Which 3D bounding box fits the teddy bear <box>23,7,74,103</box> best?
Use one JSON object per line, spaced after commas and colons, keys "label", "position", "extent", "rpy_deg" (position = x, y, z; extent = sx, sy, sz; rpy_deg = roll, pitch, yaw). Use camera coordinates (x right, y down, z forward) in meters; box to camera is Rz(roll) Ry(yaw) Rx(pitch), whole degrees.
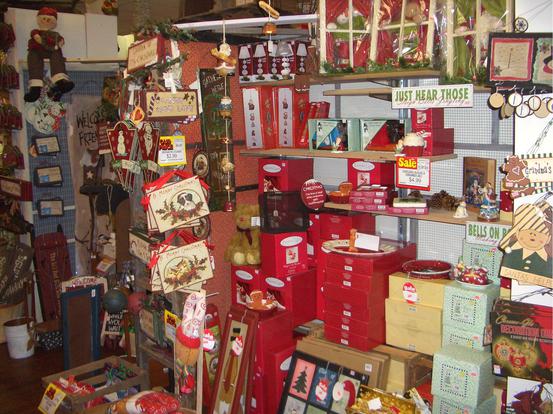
{"label": "teddy bear", "position": [-2.864, -1.843, 5.735], "extent": [0.564, 1.272, 0.474], "rpy_deg": [-3, 6, -21]}

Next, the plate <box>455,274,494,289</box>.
{"label": "plate", "position": [1.387, 0.500, 3.153], "extent": [0.229, 0.117, 0.085], "rpy_deg": [4, 13, 23]}

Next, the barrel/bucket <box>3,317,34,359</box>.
{"label": "barrel/bucket", "position": [-3.123, 1.606, 5.506], "extent": [0.303, 0.472, 0.261], "rpy_deg": [-9, 13, -31]}

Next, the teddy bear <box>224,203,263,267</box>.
{"label": "teddy bear", "position": [-0.286, 0.262, 4.322], "extent": [0.461, 0.571, 0.475], "rpy_deg": [0, 10, 21]}

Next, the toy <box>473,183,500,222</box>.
{"label": "toy", "position": [1.504, -0.031, 3.160], "extent": [0.152, 0.253, 0.113], "rpy_deg": [0, 11, 6]}
